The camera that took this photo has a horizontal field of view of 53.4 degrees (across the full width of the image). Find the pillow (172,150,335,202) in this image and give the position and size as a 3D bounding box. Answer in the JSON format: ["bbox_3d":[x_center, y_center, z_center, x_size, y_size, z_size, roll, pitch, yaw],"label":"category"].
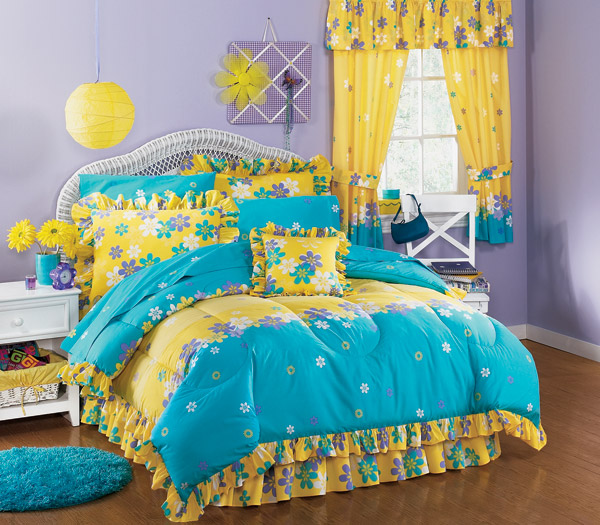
[{"bbox_3d":[-0.266,-0.543,3.704,0.788,0.356,0.310,-5,11,-21],"label":"pillow"}]

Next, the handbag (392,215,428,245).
[{"bbox_3d":[0.758,-0.228,4.128,0.156,0.156,0.084,-20,-9,1],"label":"handbag"}]

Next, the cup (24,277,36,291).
[{"bbox_3d":[-1.442,0.116,3.167,0.060,0.075,0.062,2,2,0],"label":"cup"}]

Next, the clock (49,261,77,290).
[{"bbox_3d":[-1.265,0.073,3.160,0.045,0.150,0.141,4,5,44],"label":"clock"}]

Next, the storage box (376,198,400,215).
[{"bbox_3d":[0.637,-0.405,4.293,0.121,0.082,0.124,-1,6,-6],"label":"storage box"}]

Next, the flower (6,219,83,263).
[{"bbox_3d":[-1.397,-0.114,3.294,0.326,0.272,0.159,-9,-30,-6],"label":"flower"}]

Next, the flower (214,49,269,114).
[{"bbox_3d":[-0.368,-1.165,3.854,0.332,0.374,0.077,-7,9,-19],"label":"flower"}]

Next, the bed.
[{"bbox_3d":[0.008,0.402,2.670,1.978,0.912,1.202,-1,8,-11],"label":"bed"}]

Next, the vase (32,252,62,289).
[{"bbox_3d":[-1.386,0.044,3.251,0.138,0.189,0.167,2,5,9],"label":"vase"}]

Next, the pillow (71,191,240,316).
[{"bbox_3d":[-0.754,-0.027,3.070,0.604,0.485,0.121,-5,-21,-10],"label":"pillow"}]
